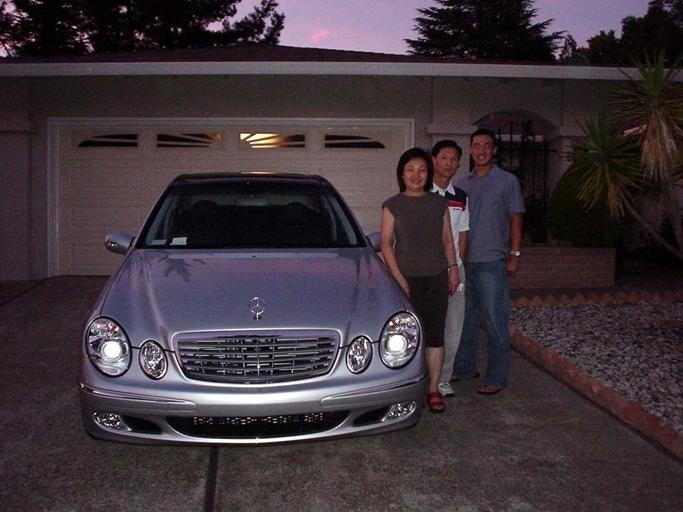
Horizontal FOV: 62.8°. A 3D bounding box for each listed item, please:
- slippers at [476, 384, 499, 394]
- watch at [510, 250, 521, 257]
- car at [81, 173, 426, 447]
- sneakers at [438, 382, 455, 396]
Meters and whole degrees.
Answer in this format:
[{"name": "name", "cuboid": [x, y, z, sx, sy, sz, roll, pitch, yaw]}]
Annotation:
[{"name": "slippers", "cuboid": [1.239, 1.108, 4.708, 0.144, 0.047, 0.080, 2, 1, -31]}, {"name": "watch", "cuboid": [1.475, -0.025, 4.772, 0.097, 0.068, 0.114, -1, 1, 2]}, {"name": "car", "cuboid": [-0.780, 0.082, 5.052, 2.316, 1.679, 3.781, 1, 13, -7]}, {"name": "sneakers", "cuboid": [0.860, 1.098, 4.619, 0.119, 0.117, 0.042, -5, -22, -22]}]
